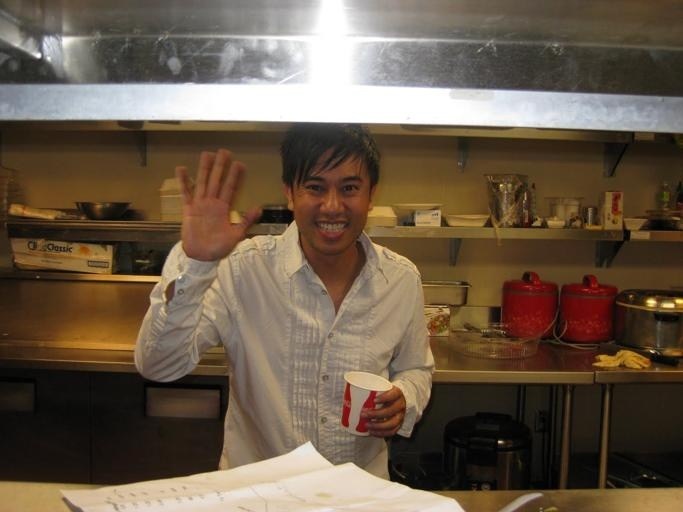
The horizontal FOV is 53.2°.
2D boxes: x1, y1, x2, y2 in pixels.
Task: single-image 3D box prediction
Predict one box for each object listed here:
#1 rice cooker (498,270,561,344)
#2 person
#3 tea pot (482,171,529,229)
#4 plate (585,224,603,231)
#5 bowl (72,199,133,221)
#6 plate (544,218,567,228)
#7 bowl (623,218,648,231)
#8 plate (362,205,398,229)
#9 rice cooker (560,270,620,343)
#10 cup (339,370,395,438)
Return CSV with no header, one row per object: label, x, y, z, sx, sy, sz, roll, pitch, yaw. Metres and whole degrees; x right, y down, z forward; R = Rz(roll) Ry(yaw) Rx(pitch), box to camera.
rice cooker,0.951,0.262,3.471,0.268,0.359,0.251,2,8,1
person,-0.120,0.165,2.105,0.981,1.133,0.515,0,4,-19
tea pot,0.857,-0.294,3.520,0.178,0.282,0.202,2,9,-4
plate,1.297,-0.146,3.513,0.092,0.033,0.203,2,4,20
bowl,-1.187,-0.219,3.385,0.227,0.091,0.096,0,4,-16
plate,1.117,-0.173,3.540,0.103,0.051,0.069,1,3,6
bowl,1.535,-0.156,3.587,0.078,0.042,0.093,1,-3,4
plate,0.204,-0.195,3.460,0.121,0.074,0.119,0,2,2
rice cooker,1.219,0.264,3.571,0.337,0.364,0.331,-1,3,1
cup,0.058,0.414,1.945,0.161,0.181,0.143,7,2,-3
